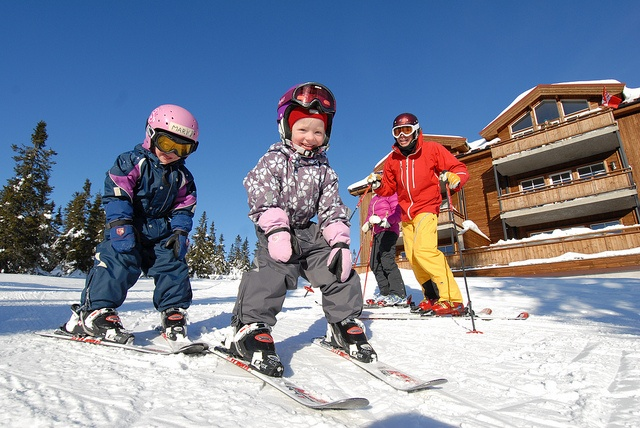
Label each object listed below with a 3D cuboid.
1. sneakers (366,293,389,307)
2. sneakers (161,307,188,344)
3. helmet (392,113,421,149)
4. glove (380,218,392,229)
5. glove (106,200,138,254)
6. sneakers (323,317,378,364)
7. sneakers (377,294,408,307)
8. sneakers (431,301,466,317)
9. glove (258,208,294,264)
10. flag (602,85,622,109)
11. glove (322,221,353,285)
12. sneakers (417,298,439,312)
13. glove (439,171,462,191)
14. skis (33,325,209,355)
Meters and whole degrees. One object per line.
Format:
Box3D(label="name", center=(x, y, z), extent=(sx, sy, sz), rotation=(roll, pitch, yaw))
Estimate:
Box3D(label="sneakers", center=(0.932, 1.519, 6.914), extent=(0.408, 0.195, 0.139), rotation=(8, -26, 8))
Box3D(label="sneakers", center=(-1.452, 1.100, 3.943), extent=(0.224, 0.313, 0.276), rotation=(3, 3, -26))
Box3D(label="helmet", center=(1.183, -1.220, 5.647), extent=(0.353, 0.440, 0.367), rotation=(1, -1, 12))
Box3D(label="glove", center=(1.132, 0.196, 7.124), extent=(0.143, 0.199, 0.055), rotation=(-13, -42, -38))
Box3D(label="glove", center=(-1.974, 0.111, 3.934), extent=(0.284, 0.551, 0.184), rotation=(-3, -11, -19))
Box3D(label="sneakers", center=(0.260, 1.152, 3.686), extent=(0.199, 0.270, 0.599), rotation=(5, -3, -31))
Box3D(label="sneakers", center=(1.187, 1.486, 6.711), extent=(0.508, 0.195, 0.239), rotation=(-4, 6, 17))
Box3D(label="sneakers", center=(1.600, 1.246, 5.189), extent=(0.437, 0.219, 0.173), rotation=(5, -21, 5))
Box3D(label="glove", center=(-0.393, 0.188, 3.605), extent=(0.164, 0.480, 0.265), rotation=(3, -25, -44))
Box3D(label="flag", center=(10.956, -4.539, 15.208), extent=(0.406, 1.057, 0.834), rotation=(1, -1, 11))
Box3D(label="glove", center=(0.138, 0.349, 3.849), extent=(0.362, 0.618, 0.239), rotation=(7, -5, -6))
Box3D(label="sneakers", center=(1.447, 1.315, 5.628), extent=(0.146, 0.208, 0.441), rotation=(-18, -30, 36))
Box3D(label="glove", center=(1.720, -0.466, 5.367), extent=(0.186, 0.264, 0.092), rotation=(9, -41, 32))
Box3D(label="skis", center=(-1.869, 1.183, 3.679), extent=(1.421, 0.077, 0.168), rotation=(3, -4, 19))
